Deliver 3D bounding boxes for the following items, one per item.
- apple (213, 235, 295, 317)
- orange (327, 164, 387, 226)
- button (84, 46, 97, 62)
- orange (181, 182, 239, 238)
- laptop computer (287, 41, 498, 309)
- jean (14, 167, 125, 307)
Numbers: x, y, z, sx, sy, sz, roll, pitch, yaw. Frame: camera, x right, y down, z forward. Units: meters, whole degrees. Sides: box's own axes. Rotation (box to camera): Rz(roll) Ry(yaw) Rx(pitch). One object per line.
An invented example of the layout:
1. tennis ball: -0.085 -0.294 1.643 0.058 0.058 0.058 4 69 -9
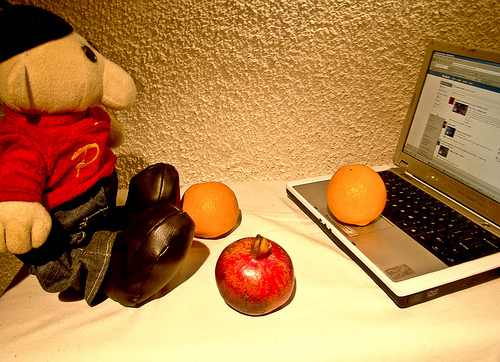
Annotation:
1. apple: -0.001 0.163 0.716 0.144 0.142 0.139 4 29 -4
2. orange: 0.225 0.028 0.809 0.137 0.141 0.141 -9 22 14
3. button: -0.269 -0.214 0.643 0.016 0.023 0.015 -8 36 -15
4. orange: -0.087 0.044 0.836 0.116 0.112 0.144 -6 24 -15
5. laptop computer: 0.376 -0.011 0.939 0.556 0.577 0.401 12 20 32
6. jean: -0.295 0.106 0.782 0.370 0.199 0.158 2 18 -8
